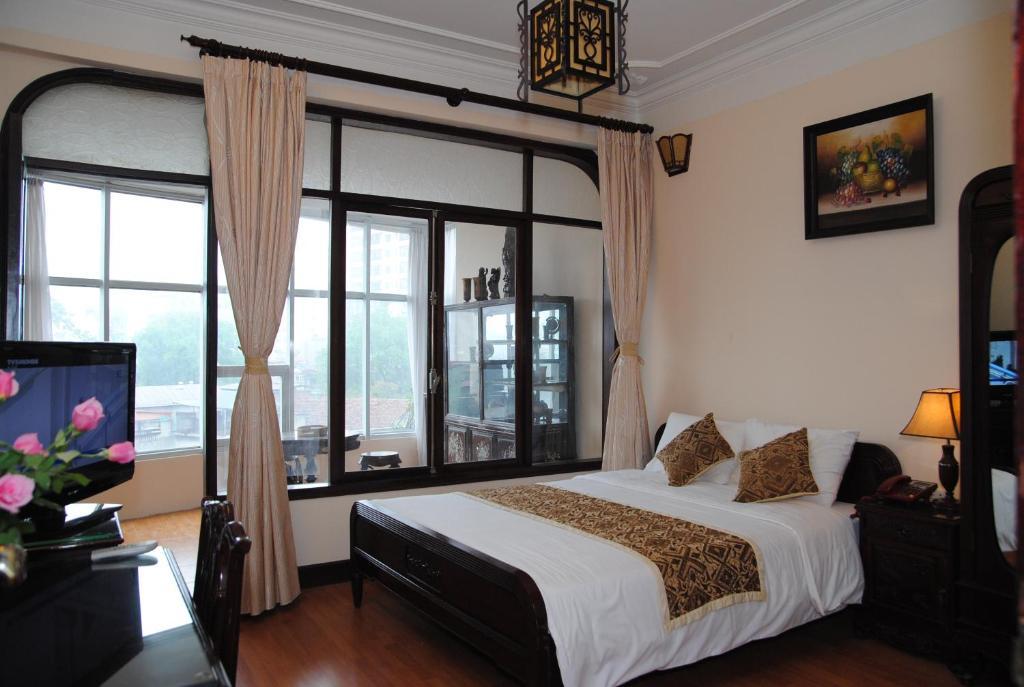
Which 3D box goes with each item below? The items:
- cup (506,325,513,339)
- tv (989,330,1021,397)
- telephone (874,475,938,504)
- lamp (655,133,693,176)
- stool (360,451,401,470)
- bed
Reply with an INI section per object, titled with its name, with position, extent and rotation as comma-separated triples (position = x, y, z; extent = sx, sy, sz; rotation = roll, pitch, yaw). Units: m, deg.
[cup]
position = -0.018, -0.103, 5.920
extent = 0.097, 0.146, 0.095
rotation = -1, 1, 0
[tv]
position = 2.938, 0.089, 4.069
extent = 0.238, 0.352, 0.129
rotation = -4, 10, -18
[telephone]
position = 2.509, 0.927, 4.403
extent = 0.216, 0.077, 0.223
rotation = -7, 6, -31
[lamp]
position = 1.390, -1.649, 6.003
extent = 0.144, 0.368, 0.316
rotation = -10, 13, -43
[stool]
position = -1.043, 0.923, 5.495
extent = 0.172, 0.165, 0.176
rotation = 1, -2, -18
[bed]
position = 0.765, 1.266, 4.701
extent = 3.654, 1.095, 2.368
rotation = -3, 10, -14
